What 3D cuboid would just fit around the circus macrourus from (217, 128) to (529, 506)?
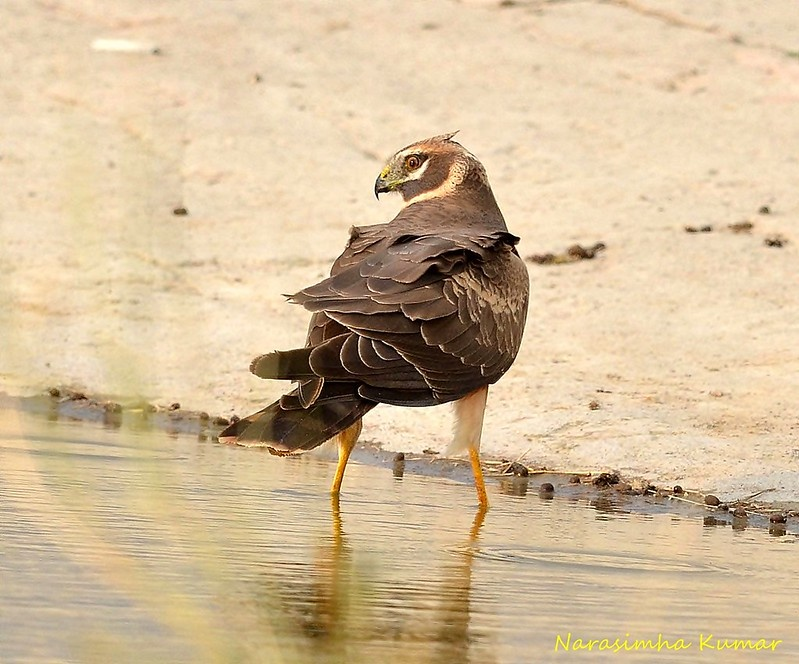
[{"bbox_3d":[-0.087,-0.173,7.717,1.220,1.842,2.753,18,8,10],"label":"circus macrourus"}]
